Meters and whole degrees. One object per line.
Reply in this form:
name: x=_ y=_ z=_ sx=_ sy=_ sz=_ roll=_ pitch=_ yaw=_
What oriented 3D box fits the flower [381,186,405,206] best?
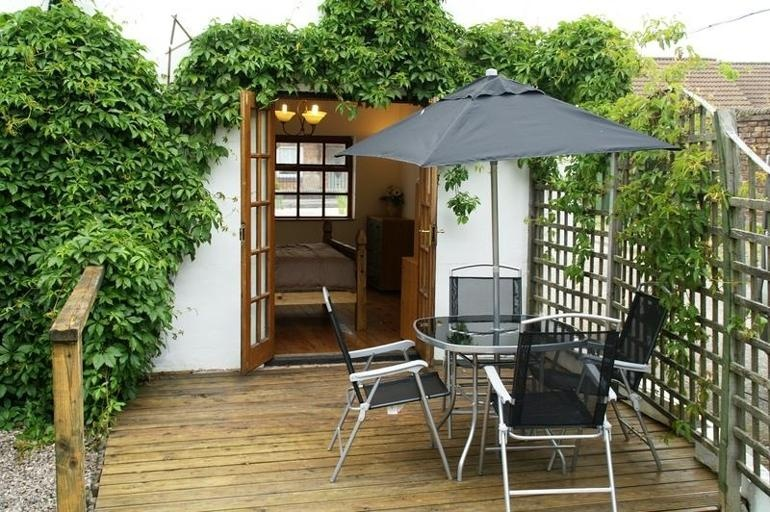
flower: x=0.149 y=-1.070 z=11.261 sx=0.401 sy=0.172 sz=0.390 roll=0 pitch=17 yaw=-40

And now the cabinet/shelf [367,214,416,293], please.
cabinet/shelf: x=0.012 y=-0.039 z=10.480 sx=0.540 sy=1.116 sz=1.064 roll=-1 pitch=10 yaw=-15

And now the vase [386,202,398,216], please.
vase: x=0.100 y=-0.838 z=11.273 sx=0.206 sy=0.238 sz=0.198 roll=0 pitch=6 yaw=-11

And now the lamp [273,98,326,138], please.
lamp: x=-1.237 y=-2.134 z=9.691 sx=0.812 sy=0.498 sz=0.832 roll=12 pitch=15 yaw=39

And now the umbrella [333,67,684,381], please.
umbrella: x=0.984 y=-0.383 z=5.360 sx=2.107 sy=2.087 sz=2.482 roll=3 pitch=7 yaw=-14
